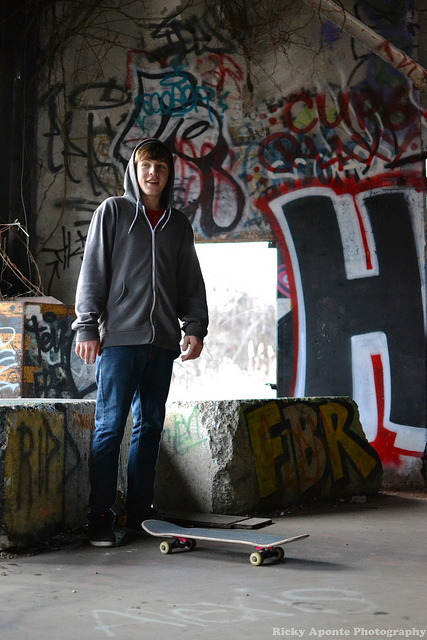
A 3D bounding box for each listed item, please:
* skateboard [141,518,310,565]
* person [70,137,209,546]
[{"bbox_3d":[0.055,0.886,2.848,0.776,0.108,0.388,-4,-10,27],"label":"skateboard"},{"bbox_3d":[-0.318,0.058,3.121,0.294,1.795,0.623,-5,-10,35],"label":"person"}]
